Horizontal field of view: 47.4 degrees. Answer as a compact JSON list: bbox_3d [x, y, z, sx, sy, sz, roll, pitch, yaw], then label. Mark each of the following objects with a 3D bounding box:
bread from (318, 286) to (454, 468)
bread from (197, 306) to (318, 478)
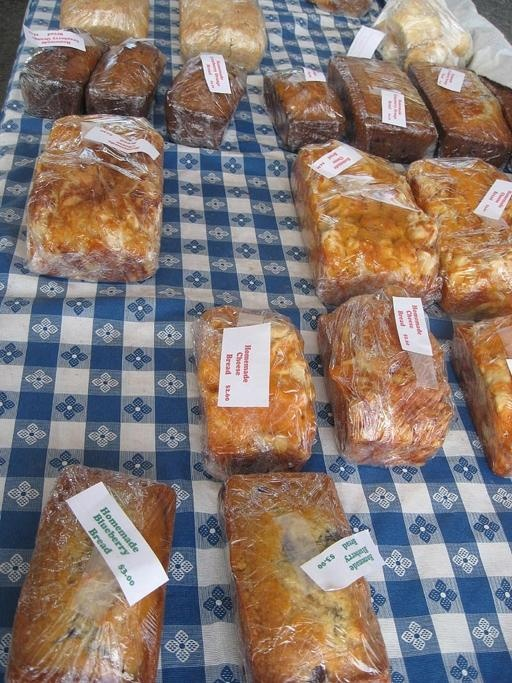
[{"bbox_3d":[0.327,0.103,1.545,0.346,0.152,0.437,-1,62,-7],"label":"bread"},{"bbox_3d":[-0.015,0.121,1.477,0.289,0.126,0.396,-3,64,-7],"label":"bread"}]
